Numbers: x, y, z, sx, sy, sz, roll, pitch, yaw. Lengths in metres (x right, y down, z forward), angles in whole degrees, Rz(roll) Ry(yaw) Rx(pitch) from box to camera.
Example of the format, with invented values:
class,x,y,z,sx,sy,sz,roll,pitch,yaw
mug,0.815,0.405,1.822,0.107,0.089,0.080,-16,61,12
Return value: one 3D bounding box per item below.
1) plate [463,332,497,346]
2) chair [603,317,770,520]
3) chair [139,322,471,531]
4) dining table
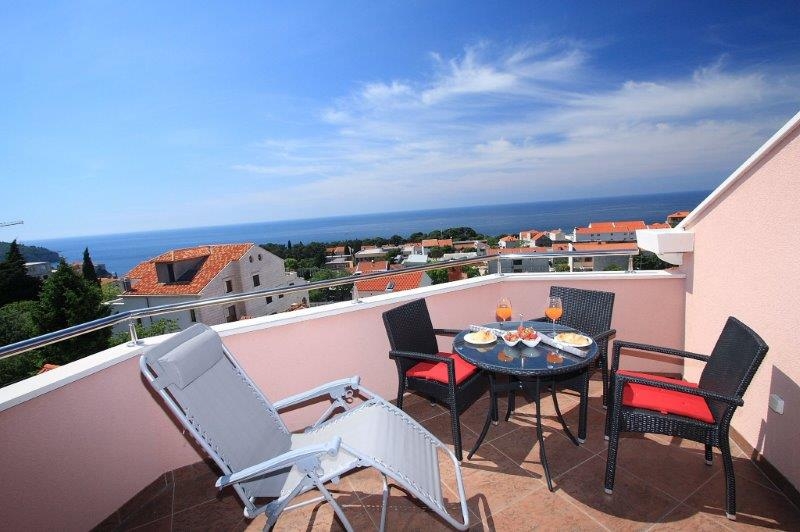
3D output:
class,x,y,z,sx,sy,sz,roll,pitch,yaw
plate,0.656,0.581,3.640,0.142,0.045,0.149,8,7,38
chair,2.029,1.060,3.297,0.987,1.288,0.600,-5,12,19
chair,-0.668,1.000,3.479,2.346,1.434,1.287,-1,19,5
dining table,1.011,1.088,3.839,1.314,1.047,1.272,5,12,40
